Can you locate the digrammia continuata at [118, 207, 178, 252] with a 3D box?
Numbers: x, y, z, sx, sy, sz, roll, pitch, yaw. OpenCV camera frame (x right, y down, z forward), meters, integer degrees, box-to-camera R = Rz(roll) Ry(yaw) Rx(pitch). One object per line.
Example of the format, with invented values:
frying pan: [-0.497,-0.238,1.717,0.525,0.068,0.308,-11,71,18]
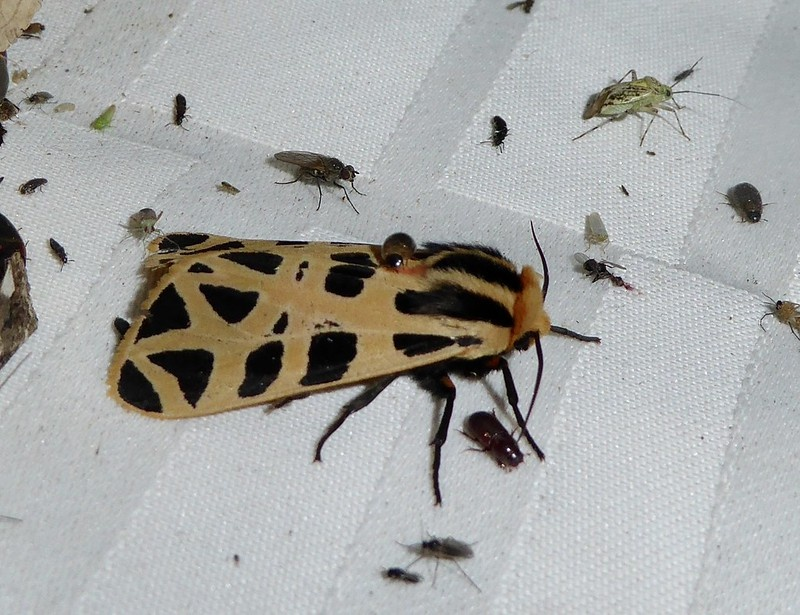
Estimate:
digrammia continuata: [-1.175,-0.364,3.937,0.161,0.061,0.199,-3,47,-20]

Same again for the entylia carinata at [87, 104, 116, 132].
entylia carinata: [-1.439,-0.903,4.184,0.089,0.034,0.122,31,67,-7]

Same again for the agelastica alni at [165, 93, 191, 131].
agelastica alni: [-1.089,-0.955,4.260,0.119,0.042,0.145,2,84,-5]

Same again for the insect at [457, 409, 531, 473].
insect: [0.408,0.558,3.779,0.253,0.091,0.305,-39,54,-7]

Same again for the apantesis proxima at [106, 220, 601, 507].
apantesis proxima: [-0.173,0.091,3.812,2.007,0.617,1.249,6,44,-5]

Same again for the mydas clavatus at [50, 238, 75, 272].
mydas clavatus: [-1.523,-0.240,3.886,0.085,0.034,0.117,-31,95,-27]

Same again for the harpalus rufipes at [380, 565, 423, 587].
harpalus rufipes: [0.005,1.124,3.683,0.196,0.064,0.069,14,81,4]

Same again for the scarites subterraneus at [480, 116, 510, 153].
scarites subterraneus: [0.483,-0.849,4.318,0.133,0.052,0.171,11,82,-3]

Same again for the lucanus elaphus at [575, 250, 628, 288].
lucanus elaphus: [0.946,-0.172,4.025,0.184,0.049,0.133,20,56,7]

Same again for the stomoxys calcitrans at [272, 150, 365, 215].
stomoxys calcitrans: [-0.410,-0.598,4.152,0.475,0.127,0.270,10,77,2]

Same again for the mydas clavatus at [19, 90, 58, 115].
mydas clavatus: [-1.751,-0.989,4.183,0.114,0.032,0.102,-19,74,-29]
